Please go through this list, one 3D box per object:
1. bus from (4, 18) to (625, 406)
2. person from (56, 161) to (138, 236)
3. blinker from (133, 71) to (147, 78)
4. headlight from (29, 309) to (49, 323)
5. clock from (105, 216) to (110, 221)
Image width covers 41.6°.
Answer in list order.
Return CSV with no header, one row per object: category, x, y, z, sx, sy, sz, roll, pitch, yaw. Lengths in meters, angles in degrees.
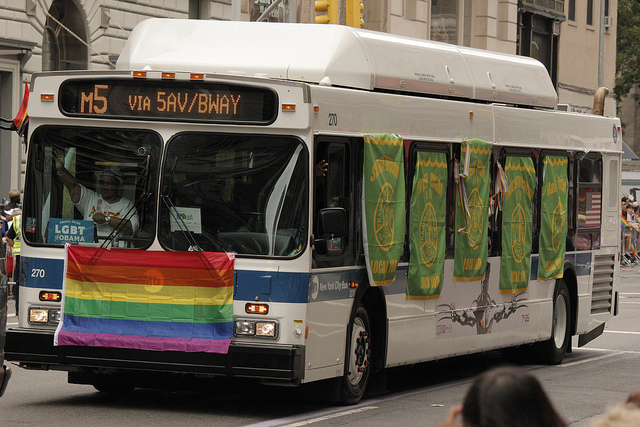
bus,0.483,-0.062,11.057,7.775,5.271,2.649,-3,-7,-43
person,-2.418,-0.176,9.235,0.590,0.936,0.294,-15,-9,1
blinker,-1.963,-1.505,9.115,0.169,0.085,0.049,-8,-5,9
headlight,-3.122,1.134,9.336,0.230,0.158,0.042,-9,-5,17
clock,-2.337,0.057,9.215,0.050,0.051,0.019,-6,-5,-14
